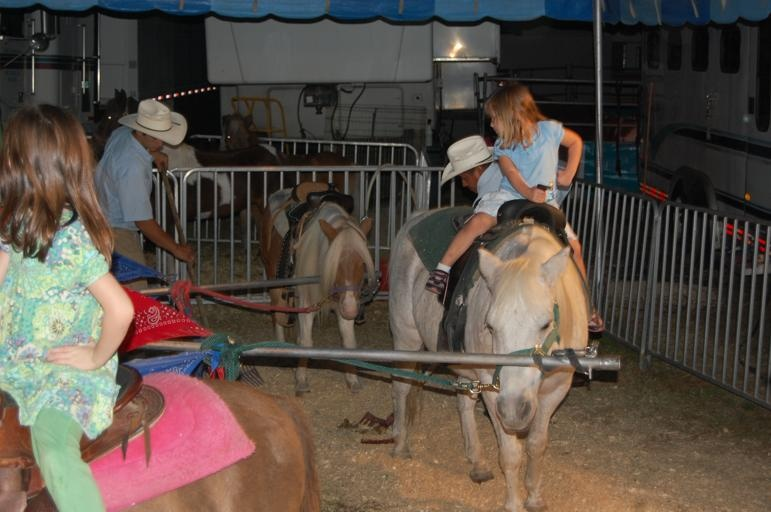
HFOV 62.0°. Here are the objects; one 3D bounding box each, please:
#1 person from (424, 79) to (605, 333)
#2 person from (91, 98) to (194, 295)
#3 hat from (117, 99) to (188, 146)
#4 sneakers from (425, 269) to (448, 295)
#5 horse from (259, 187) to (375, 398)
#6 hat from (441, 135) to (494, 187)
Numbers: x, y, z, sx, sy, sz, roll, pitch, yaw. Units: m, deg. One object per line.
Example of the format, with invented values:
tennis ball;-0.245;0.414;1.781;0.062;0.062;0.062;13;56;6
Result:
person;1.202;-0.615;5.910;1.362;2.015;1.181;13;36;17
person;-2.407;-0.588;6.412;0.873;1.503;2.300;-5;-20;-23
hat;-2.324;-1.387;6.436;0.700;0.301;0.667;6;19;-2
sneakers;0.423;0.204;5.182;0.187;0.207;0.148;10;-1;10
horse;-0.735;0.309;7.023;0.818;2.176;2.167;-2;7;-24
hat;0.736;-0.861;6.154;0.458;0.225;0.405;-20;20;41
